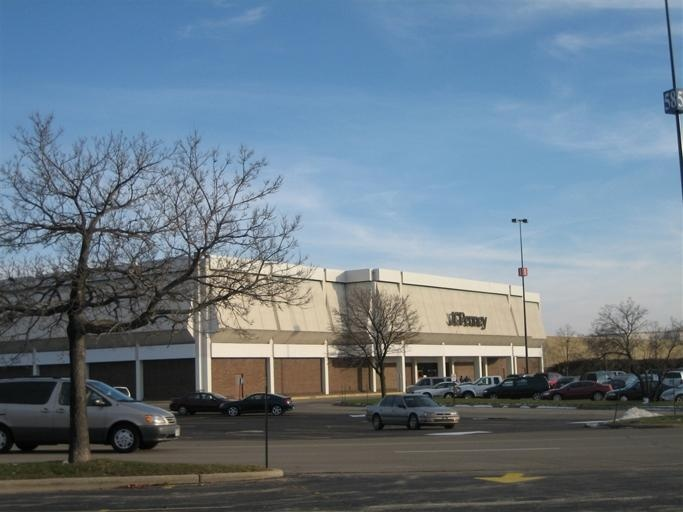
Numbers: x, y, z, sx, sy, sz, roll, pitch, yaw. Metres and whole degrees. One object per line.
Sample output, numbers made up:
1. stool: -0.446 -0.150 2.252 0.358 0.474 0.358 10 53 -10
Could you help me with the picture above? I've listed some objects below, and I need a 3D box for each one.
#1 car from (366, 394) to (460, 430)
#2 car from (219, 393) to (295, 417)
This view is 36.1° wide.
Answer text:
1. car: 2.746 6.714 44.909 1.615 1.034 3.417 6 -11 -41
2. car: -4.727 8.342 58.449 3.243 1.390 2.618 1 -13 -21
